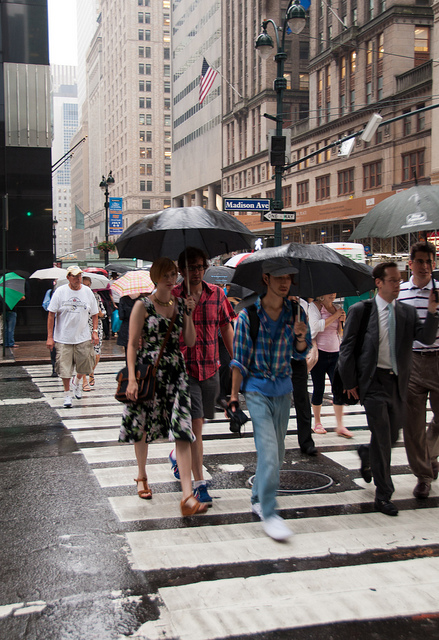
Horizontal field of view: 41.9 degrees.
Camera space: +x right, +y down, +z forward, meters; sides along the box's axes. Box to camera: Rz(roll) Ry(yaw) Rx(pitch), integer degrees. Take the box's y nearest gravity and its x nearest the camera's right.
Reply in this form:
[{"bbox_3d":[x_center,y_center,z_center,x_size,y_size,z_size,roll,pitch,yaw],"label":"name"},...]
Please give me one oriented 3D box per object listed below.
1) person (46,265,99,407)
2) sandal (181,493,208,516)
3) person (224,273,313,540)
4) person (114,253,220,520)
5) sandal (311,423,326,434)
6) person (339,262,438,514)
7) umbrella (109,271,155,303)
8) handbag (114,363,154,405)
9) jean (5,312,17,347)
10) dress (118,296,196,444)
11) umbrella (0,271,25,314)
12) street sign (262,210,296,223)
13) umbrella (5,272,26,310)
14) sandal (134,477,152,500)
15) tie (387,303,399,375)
[{"bbox_3d":[-2.276,0.249,9.021,0.763,2.197,0.740,-8,7,-35],"label":"person"},{"bbox_3d":[-0.218,1.380,4.213,0.250,0.098,0.086,-3,0,13],"label":"sandal"},{"bbox_3d":[0.373,0.535,4.106,0.589,1.934,0.640,-3,-6,27],"label":"person"},{"bbox_3d":[-0.530,0.483,4.713,0.676,2.072,1.492,-5,6,-11],"label":"person"},{"bbox_3d":[1.255,1.386,7.285,0.142,0.092,0.230,-4,6,-6],"label":"sandal"},{"bbox_3d":[1.289,0.485,4.482,0.673,1.861,0.508,-8,8,-38],"label":"person"},{"bbox_3d":[-1.453,-0.450,10.063,0.891,0.293,0.883,-17,24,-6],"label":"umbrella"},{"bbox_3d":[-0.663,0.480,4.327,0.271,0.262,0.135,-7,-24,13],"label":"handbag"},{"bbox_3d":[-6.457,0.275,17.703,0.327,1.088,0.991,-6,6,-20],"label":"jean"},{"bbox_3d":[-0.474,0.351,4.371,0.516,1.117,0.359,2,-7,-7],"label":"dress"},{"bbox_3d":[-5.742,-0.766,15.806,0.670,1.142,1.856,-6,6,-20],"label":"umbrella"},{"bbox_3d":[1.678,-3.000,16.468,0.598,0.212,0.098,2,-23,-14],"label":"street sign"},{"bbox_3d":[-5.500,-0.799,15.337,0.523,0.971,0.807,-6,6,-20],"label":"umbrella"},{"bbox_3d":[-0.620,1.371,4.689,0.117,0.184,0.230,-4,6,-7],"label":"sandal"},{"bbox_3d":[1.324,0.156,4.380,0.073,0.669,0.051,-6,30,17],"label":"tie"}]
